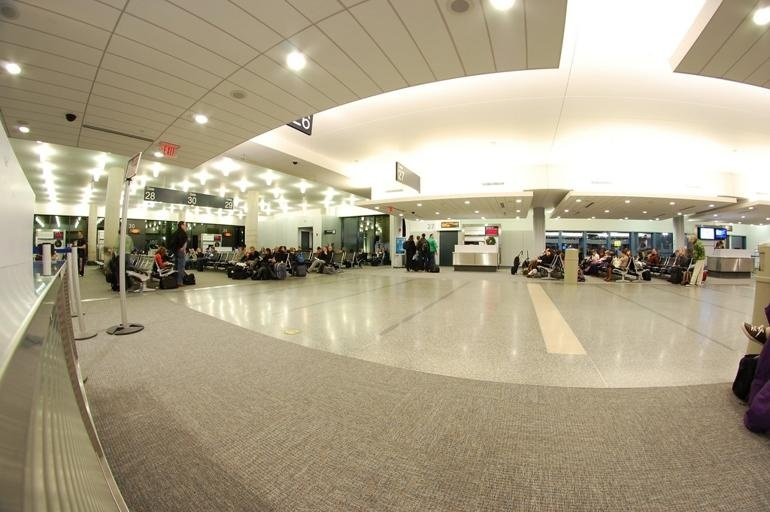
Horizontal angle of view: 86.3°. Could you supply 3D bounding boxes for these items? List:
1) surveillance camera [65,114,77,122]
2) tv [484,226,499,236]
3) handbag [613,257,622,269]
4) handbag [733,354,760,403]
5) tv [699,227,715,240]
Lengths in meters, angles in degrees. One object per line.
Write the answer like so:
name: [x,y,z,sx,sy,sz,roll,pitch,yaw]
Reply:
surveillance camera: [-6.234,-2.767,8.171,0.140,0.035,0.144,-12,-17,26]
tv: [5.640,-1.332,21.751,0.715,0.480,0.711,2,5,17]
handbag: [7.822,0.226,13.829,0.135,0.350,0.350,10,7,20]
handbag: [4.084,1.384,4.644,0.222,0.539,0.209,1,4,8]
tv: [17.844,-1.258,22.881,0.781,0.543,0.080,2,1,-23]
